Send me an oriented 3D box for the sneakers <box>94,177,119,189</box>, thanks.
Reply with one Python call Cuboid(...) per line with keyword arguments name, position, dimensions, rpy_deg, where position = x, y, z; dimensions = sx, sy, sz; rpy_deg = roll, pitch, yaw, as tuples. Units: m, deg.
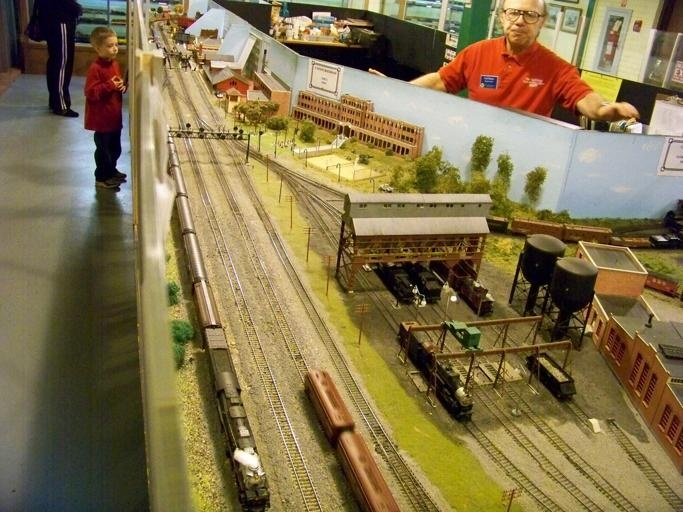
Cuboid(name="sneakers", position=(-4.375, -1.356, 8.928), dimensions=(0.338, 0.145, 0.183), rpy_deg=(-2, 46, -6))
